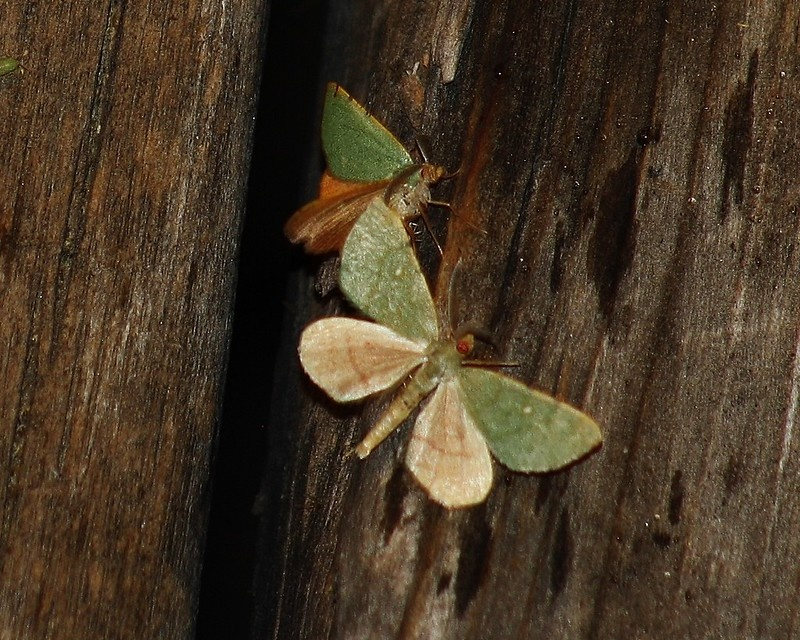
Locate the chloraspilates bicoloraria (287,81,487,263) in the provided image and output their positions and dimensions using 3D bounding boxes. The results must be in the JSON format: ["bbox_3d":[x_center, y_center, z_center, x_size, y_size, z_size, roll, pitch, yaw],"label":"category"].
[{"bbox_3d":[-0.072,-0.288,2.922,0.343,0.162,0.566,-24,67,7],"label":"chloraspilates bicoloraria"}]
